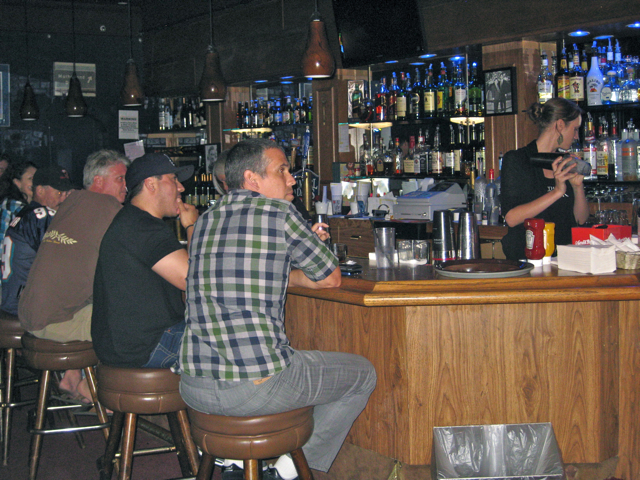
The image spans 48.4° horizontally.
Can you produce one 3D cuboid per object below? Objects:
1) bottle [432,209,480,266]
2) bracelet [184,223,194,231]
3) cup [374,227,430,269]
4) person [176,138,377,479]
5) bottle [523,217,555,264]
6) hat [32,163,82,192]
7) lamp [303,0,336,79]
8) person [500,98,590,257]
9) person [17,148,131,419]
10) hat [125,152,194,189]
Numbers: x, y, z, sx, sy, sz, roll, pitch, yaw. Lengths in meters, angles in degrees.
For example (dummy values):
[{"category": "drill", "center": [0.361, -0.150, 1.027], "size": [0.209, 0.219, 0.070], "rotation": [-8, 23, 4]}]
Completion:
[{"category": "bottle", "center": [0.714, -0.004, 3.779], "size": [0.290, 0.419, 0.153], "rotation": [-1, 2, -4]}, {"category": "bracelet", "center": [-0.752, -0.076, 3.975], "size": [0.037, 0.029, 0.037], "rotation": [0, 0, -3]}, {"category": "cup", "center": [0.390, 0.027, 3.898], "size": [0.328, 0.214, 0.298], "rotation": [-1, 6, 0]}, {"category": "person", "center": [-0.229, 0.447, 3.264], "size": [0.822, 1.362, 0.379], "rotation": [-5, 6, -32]}, {"category": "bottle", "center": [1.170, 0.003, 3.744], "size": [0.215, 0.240, 0.103], "rotation": [-6, 7, -38]}, {"category": "hat", "center": [-1.842, -0.433, 4.864], "size": [0.235, 0.141, 0.174], "rotation": [3, 9, 13]}, {"category": "lamp", "center": [-0.027, -1.391, 4.866], "size": [0.217, 0.564, 0.356], "rotation": [-1, 5, -1]}, {"category": "person", "center": [1.359, -0.367, 4.351], "size": [0.523, 0.999, 0.729], "rotation": [1, 6, 21]}, {"category": "person", "center": [-1.433, 0.222, 4.328], "size": [0.579, 1.459, 0.883], "rotation": [15, 15, 34]}, {"category": "hat", "center": [-0.856, -0.372, 3.711], "size": [0.295, 0.156, 0.194], "rotation": [-21, 6, -12]}]
